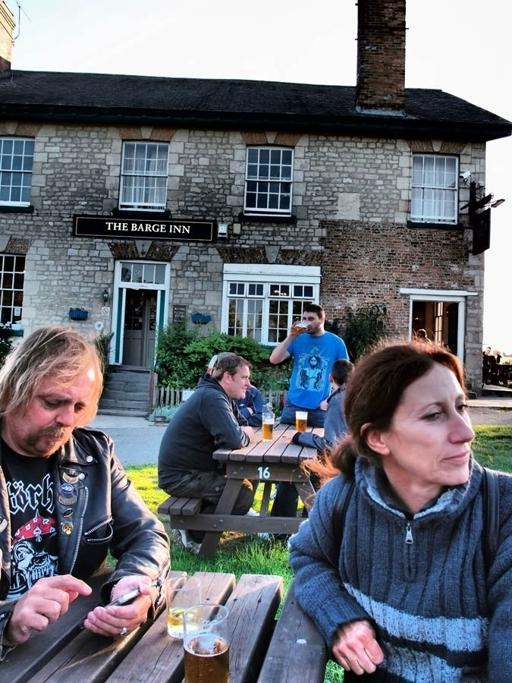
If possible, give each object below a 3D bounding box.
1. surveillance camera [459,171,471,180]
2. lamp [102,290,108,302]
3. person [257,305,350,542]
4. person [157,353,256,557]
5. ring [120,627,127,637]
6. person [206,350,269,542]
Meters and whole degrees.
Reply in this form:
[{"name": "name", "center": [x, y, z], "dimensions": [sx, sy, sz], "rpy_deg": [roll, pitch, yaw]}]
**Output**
[{"name": "surveillance camera", "center": [4.688, -3.667, 14.119], "dimensions": [0.186, 0.187, 0.222], "rpy_deg": [3, -6, 2]}, {"name": "lamp", "center": [-3.385, -1.011, 14.127], "dimensions": [0.159, 0.342, 0.152], "rpy_deg": [1, 7, 2]}, {"name": "person", "center": [0.564, 0.704, 6.466], "dimensions": [0.903, 2.249, 0.742], "rpy_deg": [3, -13, 3]}, {"name": "person", "center": [-0.326, 0.866, 4.878], "dimensions": [0.866, 1.466, 0.695], "rpy_deg": [1, -4, 24]}, {"name": "ring", "center": [-0.384, 0.842, 1.842], "dimensions": [0.027, 0.010, 0.019], "rpy_deg": [-5, 0, -42]}, {"name": "person", "center": [-0.192, 1.158, 6.875], "dimensions": [0.578, 2.024, 0.697], "rpy_deg": [9, 24, 37]}]
